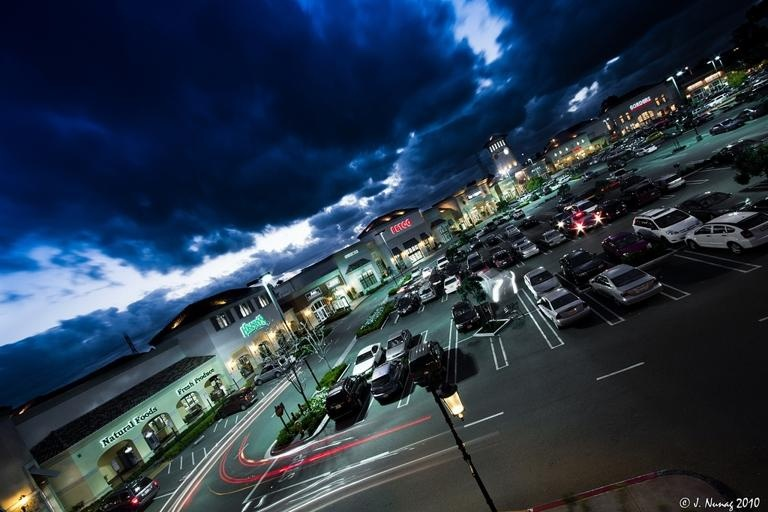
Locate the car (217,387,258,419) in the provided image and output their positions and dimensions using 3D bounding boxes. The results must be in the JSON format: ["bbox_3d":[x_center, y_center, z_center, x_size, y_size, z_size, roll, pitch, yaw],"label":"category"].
[{"bbox_3d":[-16.524,16.557,45.770,4.847,2.133,2.888,-13,4,24],"label":"car"}]
